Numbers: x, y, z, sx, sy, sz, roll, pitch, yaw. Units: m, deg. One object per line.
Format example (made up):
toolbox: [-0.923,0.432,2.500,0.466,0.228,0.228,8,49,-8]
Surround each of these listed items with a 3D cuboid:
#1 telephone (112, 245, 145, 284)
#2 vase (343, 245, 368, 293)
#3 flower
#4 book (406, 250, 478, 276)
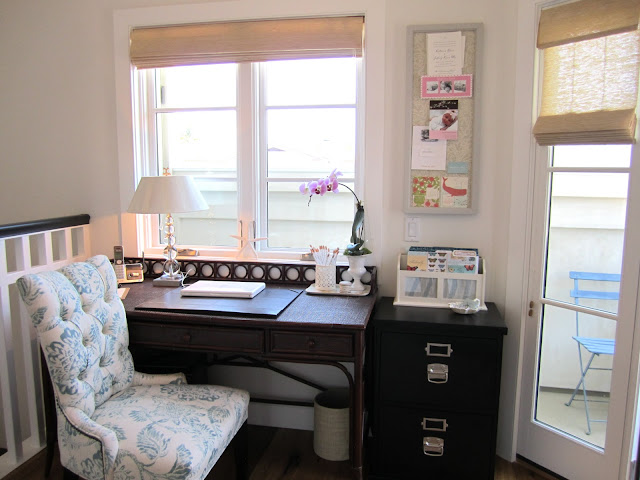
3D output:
telephone: [-1.216,0.141,3.126,0.147,0.219,0.191,5,6,43]
vase: [0.206,0.171,2.855,0.209,0.241,0.200,1,3,5]
flower: [0.015,-0.162,3.045,0.459,0.590,0.346,1,5,-6]
book: [0.678,0.110,2.793,0.411,0.127,0.178,0,7,10]
